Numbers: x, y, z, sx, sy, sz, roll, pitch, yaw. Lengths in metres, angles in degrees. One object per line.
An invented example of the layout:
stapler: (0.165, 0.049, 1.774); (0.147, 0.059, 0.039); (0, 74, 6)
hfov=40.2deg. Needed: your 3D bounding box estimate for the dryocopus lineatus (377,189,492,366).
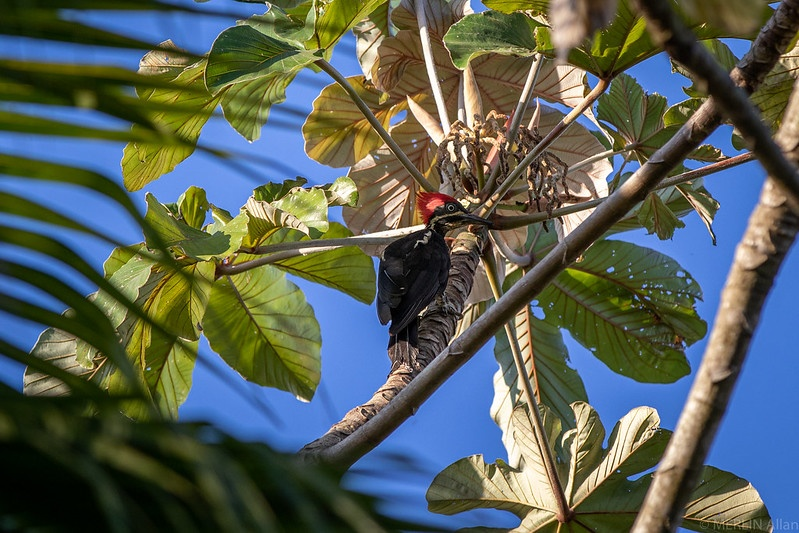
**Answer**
dryocopus lineatus: (0.187, 0.076, 6.219); (0.729, 1.028, 0.335); (-2, -18, -15)
